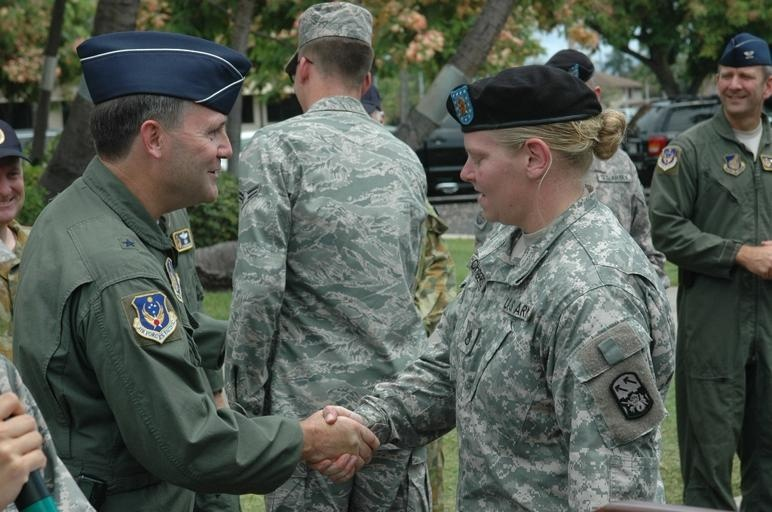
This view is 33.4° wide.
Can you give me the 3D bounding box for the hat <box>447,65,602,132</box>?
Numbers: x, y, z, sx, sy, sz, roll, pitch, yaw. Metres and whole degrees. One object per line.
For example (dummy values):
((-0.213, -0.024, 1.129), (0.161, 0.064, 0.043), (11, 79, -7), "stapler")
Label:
((0.727, -0.858, 7.051), (0.546, 0.206, 0.417), (-6, 3, 1), "hat")
